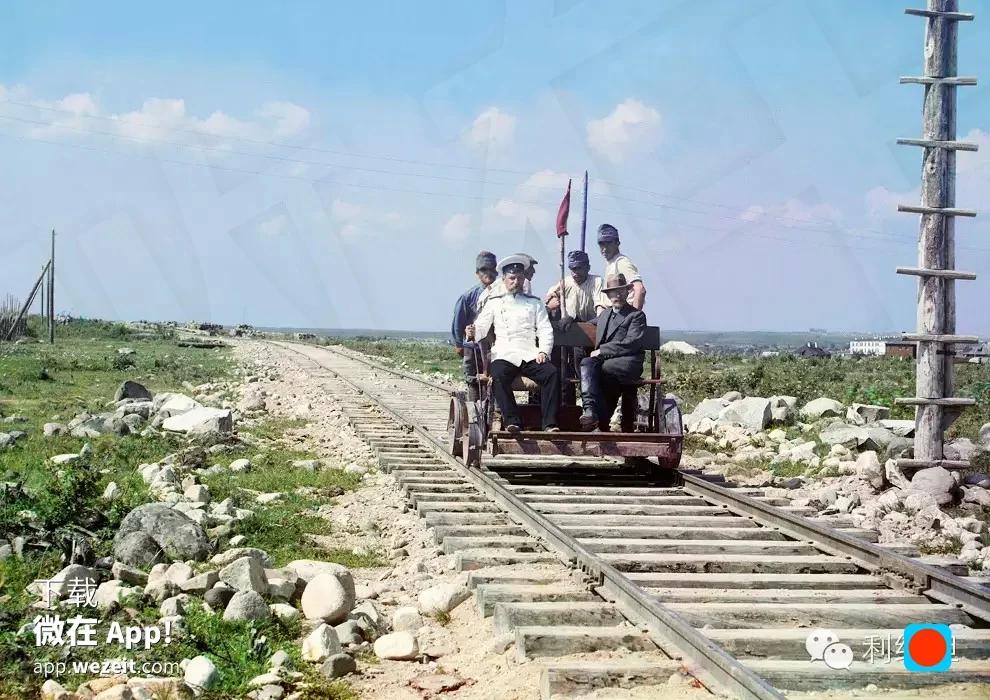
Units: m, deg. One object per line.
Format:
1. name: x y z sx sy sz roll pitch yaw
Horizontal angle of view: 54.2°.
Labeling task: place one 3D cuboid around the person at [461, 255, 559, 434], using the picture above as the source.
1. person: 0.214 -0.091 12.271 1.114 2.181 1.203 -4 7 -13

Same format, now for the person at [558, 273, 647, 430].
1. person: 1.484 0.034 12.182 0.773 1.872 1.282 0 0 13

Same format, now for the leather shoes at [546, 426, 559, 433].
1. leather shoes: 0.692 0.962 11.861 0.168 0.064 0.254 0 0 3

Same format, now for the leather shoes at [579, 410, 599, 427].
1. leather shoes: 1.141 0.851 11.773 0.195 0.214 0.335 0 0 23

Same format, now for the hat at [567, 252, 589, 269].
1. hat: 1.110 -1.197 12.950 0.241 0.225 0.257 0 0 -4
